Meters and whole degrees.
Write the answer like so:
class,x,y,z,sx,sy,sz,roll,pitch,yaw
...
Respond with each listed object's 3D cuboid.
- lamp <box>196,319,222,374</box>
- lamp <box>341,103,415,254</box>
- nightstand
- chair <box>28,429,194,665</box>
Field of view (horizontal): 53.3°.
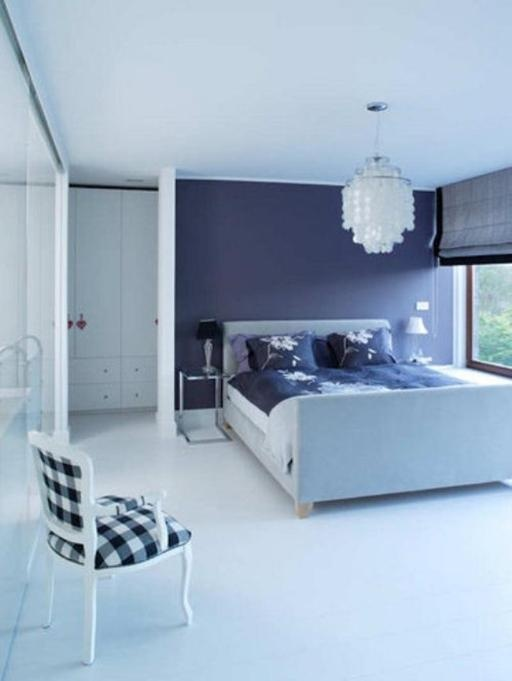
class,x,y,z,sx,sy,sz,roll,pitch,yaw
lamp,-0.437,0.046,4.669,0.239,0.480,0.506,0,3,-4
lamp,0.755,-0.859,3.175,0.428,0.573,0.280,1,3,13
nightstand,-0.472,0.568,4.672,0.422,0.582,0.567,2,4,-24
chair,-0.529,0.668,1.823,0.445,0.773,0.472,7,9,35
